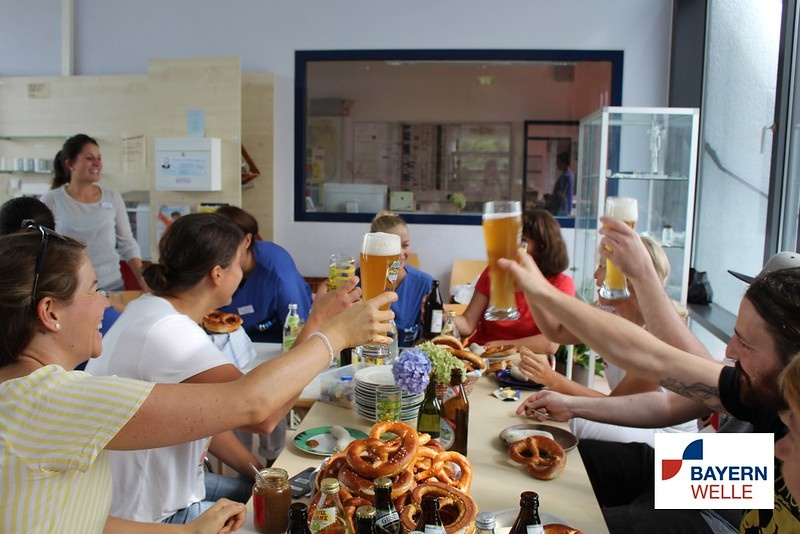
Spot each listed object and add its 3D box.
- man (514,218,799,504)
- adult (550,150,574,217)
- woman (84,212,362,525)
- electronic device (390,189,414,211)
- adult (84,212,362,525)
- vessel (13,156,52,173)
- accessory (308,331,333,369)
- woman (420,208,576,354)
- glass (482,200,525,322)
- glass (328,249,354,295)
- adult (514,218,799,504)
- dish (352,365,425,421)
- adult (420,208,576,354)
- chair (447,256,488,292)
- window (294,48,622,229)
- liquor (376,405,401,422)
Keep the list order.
[{"bbox_3d":[0.980,0.289,2.144,1.024,0.693,0.752,-4,15,22],"label":"man"},{"bbox_3d":[1.730,-0.730,6.244,0.242,0.988,0.324,5,25,22],"label":"adult"},{"bbox_3d":[-0.732,0.245,2.838,1.350,1.810,0.831,-2,16,-29],"label":"woman"},{"bbox_3d":[0.013,-0.702,6.158,0.223,0.159,0.219,1,-2,-18],"label":"electronic device"},{"bbox_3d":[-0.775,0.201,2.888,1.350,1.810,0.831,-2,16,-29],"label":"adult"},{"bbox_3d":[-3.646,-1.007,5.787,0.464,0.126,0.158,0,3,0],"label":"vessel"},{"bbox_3d":[-0.267,0.256,1.848,0.024,0.093,0.093,-27,44,-28],"label":"accessory"},{"bbox_3d":[0.720,0.105,3.684,0.799,0.934,0.853,5,0,35],"label":"woman"},{"bbox_3d":[0.350,-0.033,2.019,0.144,0.386,0.143,-1,-1,29],"label":"glass"},{"bbox_3d":[-0.249,0.016,2.404,0.104,0.160,0.163,5,-4,-11],"label":"glass"},{"bbox_3d":[0.837,0.322,2.241,1.024,0.693,0.752,-4,15,22],"label":"adult"},{"bbox_3d":[-0.073,0.501,2.390,0.228,0.123,0.227,1,-1,28],"label":"dish"},{"bbox_3d":[0.690,0.111,3.703,0.884,0.936,0.862,5,4,23],"label":"adult"},{"bbox_3d":[0.626,0.059,5.589,0.299,0.390,0.289,3,8,2],"label":"chair"},{"bbox_3d":[0.585,-1.200,5.611,3.205,1.764,0.051,0,-2,-2],"label":"window"},{"bbox_3d":[-0.046,0.569,2.277,0.083,0.059,0.081,1,-3,1],"label":"liquor"}]
